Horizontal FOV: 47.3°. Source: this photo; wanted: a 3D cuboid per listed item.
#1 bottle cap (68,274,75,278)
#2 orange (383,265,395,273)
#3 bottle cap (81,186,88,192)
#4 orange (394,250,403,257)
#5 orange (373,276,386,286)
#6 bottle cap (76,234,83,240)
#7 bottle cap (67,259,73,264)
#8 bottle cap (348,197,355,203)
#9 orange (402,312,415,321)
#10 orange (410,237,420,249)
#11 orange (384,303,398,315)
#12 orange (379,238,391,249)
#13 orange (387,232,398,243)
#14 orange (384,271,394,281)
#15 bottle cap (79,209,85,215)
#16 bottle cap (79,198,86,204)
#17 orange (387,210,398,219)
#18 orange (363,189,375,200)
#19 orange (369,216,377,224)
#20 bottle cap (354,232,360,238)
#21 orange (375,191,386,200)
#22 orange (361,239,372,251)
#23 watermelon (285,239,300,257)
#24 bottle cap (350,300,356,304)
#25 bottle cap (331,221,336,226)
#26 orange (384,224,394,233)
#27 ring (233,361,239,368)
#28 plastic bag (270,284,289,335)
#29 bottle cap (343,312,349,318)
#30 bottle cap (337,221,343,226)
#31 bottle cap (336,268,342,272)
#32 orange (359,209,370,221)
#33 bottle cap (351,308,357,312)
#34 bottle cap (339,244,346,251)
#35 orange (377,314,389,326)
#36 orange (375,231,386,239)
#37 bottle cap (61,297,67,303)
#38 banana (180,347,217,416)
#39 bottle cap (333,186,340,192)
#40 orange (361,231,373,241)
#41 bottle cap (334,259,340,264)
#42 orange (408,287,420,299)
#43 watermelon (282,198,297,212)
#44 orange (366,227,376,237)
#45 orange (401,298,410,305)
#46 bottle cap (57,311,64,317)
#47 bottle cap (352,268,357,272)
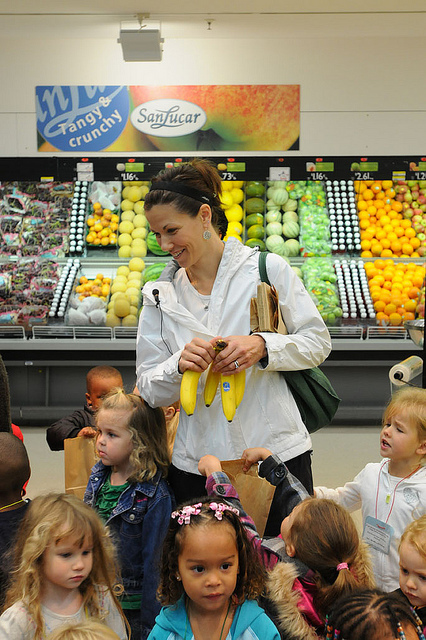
[{"bbox_3d":[-1.421,-0.442,4.898,0.063,0.032,0.058,-5,8,-18],"label":"bottle cap"},{"bbox_3d":[1.841,-0.522,5.049,0.065,0.074,0.064,13,-7,10],"label":"orange"},{"bbox_3d":[-1.424,-1.443,5.379,0.055,0.070,0.075,-1,8,10],"label":"bottle cap"},{"bbox_3d":[1.997,-0.726,5.266,0.067,0.047,0.081,-4,9,0],"label":"orange"},{"bbox_3d":[1.703,-0.399,4.986,0.088,0.101,0.088,6,12,34],"label":"orange"},{"bbox_3d":[-1.394,-0.866,5.104,0.053,0.051,0.032,14,-26,7],"label":"bottle cap"},{"bbox_3d":[-1.481,-0.613,5.065,0.046,0.034,0.045,-3,8,-9],"label":"bottle cap"},{"bbox_3d":[1.539,-1.326,5.387,0.056,0.054,0.065,11,26,10],"label":"bottle cap"},{"bbox_3d":[1.865,-0.032,4.655,0.086,0.081,0.101,25,20,39],"label":"orange"},{"bbox_3d":[2.202,-0.842,5.357,0.106,0.121,0.103,1,-6,-6],"label":"orange"},{"bbox_3d":[1.702,-0.106,4.665,0.109,0.123,0.106,7,-9,-10],"label":"orange"},{"bbox_3d":[1.863,-0.826,5.307,0.105,0.117,0.102,-8,25,-4],"label":"orange"},{"bbox_3d":[1.945,-0.898,5.308,0.095,0.106,0.093,12,-6,4],"label":"orange"},{"bbox_3d":[1.795,-0.449,4.984,0.094,0.104,0.092,4,-14,-1],"label":"orange"},{"bbox_3d":[-1.401,-1.154,5.214,0.055,0.052,0.029,9,-6,5],"label":"bottle cap"},{"bbox_3d":[-1.410,-1.290,5.288,0.061,0.067,0.062,-4,8,-14],"label":"bottle cap"},{"bbox_3d":[2.000,-1.173,5.412,0.100,0.111,0.097,-2,33,4],"label":"orange"},{"bbox_3d":[1.736,-1.404,5.455,0.114,0.125,0.111,0,-15,2],"label":"orange"},{"bbox_3d":[1.779,-1.111,5.419,0.078,0.086,0.076,-2,7,-10],"label":"orange"},{"bbox_3d":[1.547,-0.912,5.239,0.061,0.055,0.077,0,8,14],"label":"bottle cap"},{"bbox_3d":[1.896,-1.403,5.502,0.097,0.113,0.098,0,0,40],"label":"orange"},{"bbox_3d":[1.659,-0.806,5.264,0.134,0.114,0.051,-6,8,-24],"label":"orange"},{"bbox_3d":[0.855,-0.758,5.130,0.169,0.195,0.166,0,5,10],"label":"watermelon"},{"bbox_3d":[1.362,-0.173,4.711,0.042,0.028,0.030,2,-4,-1],"label":"bottle cap"},{"bbox_3d":[1.285,-1.024,5.171,0.060,0.046,0.019,-6,8,-26],"label":"bottle cap"},{"bbox_3d":[1.926,-1.003,5.356,0.091,0.090,0.104,25,-21,27],"label":"orange"},{"bbox_3d":[0.059,0.113,1.247,0.005,0.020,0.005,-29,8,-15],"label":"ring"},{"bbox_3d":[0.191,-0.025,1.420,0.040,0.119,0.090,-9,14,4],"label":"plastic bag"},{"bbox_3d":[1.271,-0.048,4.653,0.045,0.039,0.045,1,3,12],"label":"bottle cap"},{"bbox_3d":[1.353,-1.024,5.176,0.061,0.047,0.031,-5,8,-23],"label":"bottle cap"},{"bbox_3d":[1.313,-0.517,5.043,0.081,0.039,0.046,-7,9,-34],"label":"bottle cap"},{"bbox_3d":[1.653,-1.160,5.402,0.113,0.126,0.110,-3,20,-5],"label":"orange"},{"bbox_3d":[1.356,-0.096,4.672,0.061,0.038,0.022,-6,8,-26],"label":"bottle cap"},{"bbox_3d":[1.372,-0.760,5.158,0.057,0.055,0.065,10,-9,9],"label":"bottle cap"},{"bbox_3d":[1.629,-0.006,4.637,0.115,0.098,0.105,-3,8,-4],"label":"orange"},{"bbox_3d":[1.825,-0.923,5.319,0.084,0.097,0.082,27,48,0],"label":"orange"},{"bbox_3d":[-1.421,-0.191,4.664,0.058,0.049,0.046,-6,8,-26],"label":"bottle cap"},{"bbox_3d":[-0.050,0.180,1.281,0.035,0.138,0.050,-2,-11,25],"label":"banana"},{"bbox_3d":[1.384,-1.463,5.451,0.071,0.069,0.060,-1,8,9],"label":"bottle cap"},{"bbox_3d":[1.677,-0.915,5.312,0.106,0.086,0.090,28,22,-7],"label":"orange"},{"bbox_3d":[1.300,-0.613,5.117,0.056,0.045,0.087,0,8,17],"label":"bottle cap"},{"bbox_3d":[1.970,-0.271,4.825,0.103,0.098,0.119,3,40,6],"label":"orange"},{"bbox_3d":[0.850,-1.257,5.363,0.143,0.117,0.113,-21,6,-8],"label":"watermelon"},{"bbox_3d":[1.746,-0.975,5.410,0.103,0.114,0.101,-4,0,-30],"label":"orange"},{"bbox_3d":[1.872,-0.184,4.719,0.049,0.048,0.058,16,-18,23],"label":"orange"},{"bbox_3d":[-1.434,-0.057,4.572,0.050,0.011,0.048,9,26,10],"label":"bottle cap"},{"bbox_3d":[1.468,-0.518,5.057,0.047,0.039,0.060,-1,8,9],"label":"bottle cap"}]
